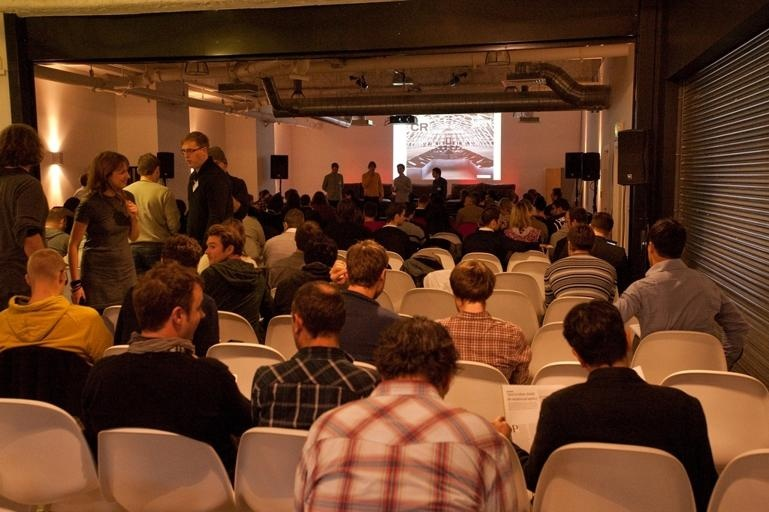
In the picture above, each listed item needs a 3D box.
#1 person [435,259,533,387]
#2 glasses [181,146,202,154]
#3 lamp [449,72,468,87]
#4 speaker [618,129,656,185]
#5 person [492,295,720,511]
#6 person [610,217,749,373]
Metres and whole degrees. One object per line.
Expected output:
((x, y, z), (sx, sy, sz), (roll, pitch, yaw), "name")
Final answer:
((0.662, 0.521, 4.035), (0.673, 1.096, 0.834), (-3, 5, 1), "person")
((-1.921, -1.038, 5.725), (0.223, 0.064, 0.105), (8, 10, 33), "glasses")
((1.886, -4.516, 14.796), (0.284, 0.391, 1.003), (4, 11, 3), "lamp")
((2.767, -1.047, 6.322), (0.346, 0.605, 0.354), (2, 3, 33), "speaker")
((0.845, 0.657, 3.022), (0.920, 1.332, 0.897), (-3, -10, 3), "person")
((2.193, 0.656, 4.468), (0.921, 1.896, 0.508), (2, 22, 21), "person")
